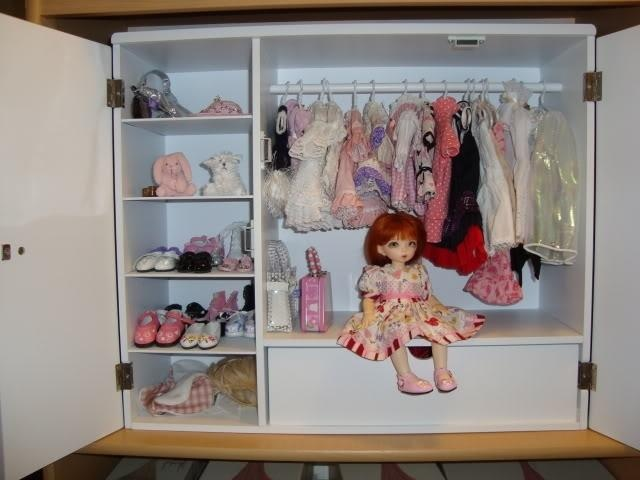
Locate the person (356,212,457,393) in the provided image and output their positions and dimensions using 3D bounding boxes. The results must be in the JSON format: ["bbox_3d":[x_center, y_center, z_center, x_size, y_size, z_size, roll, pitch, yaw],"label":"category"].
[{"bbox_3d":[0.493,0.290,2.977,0.519,0.891,0.761,-3,6,-10],"label":"person"}]
